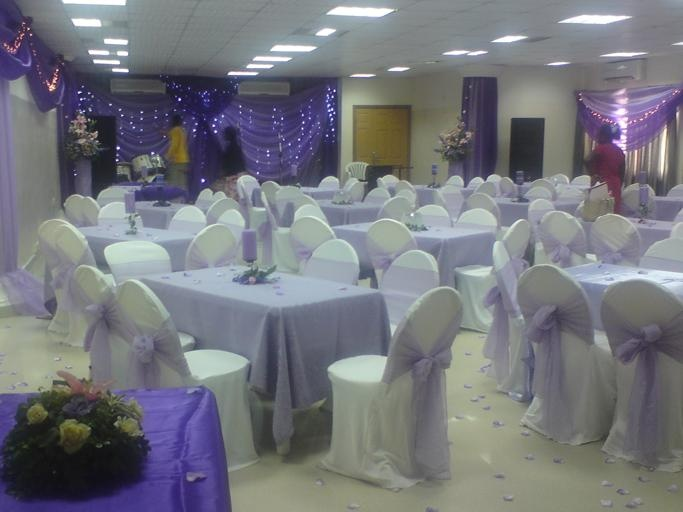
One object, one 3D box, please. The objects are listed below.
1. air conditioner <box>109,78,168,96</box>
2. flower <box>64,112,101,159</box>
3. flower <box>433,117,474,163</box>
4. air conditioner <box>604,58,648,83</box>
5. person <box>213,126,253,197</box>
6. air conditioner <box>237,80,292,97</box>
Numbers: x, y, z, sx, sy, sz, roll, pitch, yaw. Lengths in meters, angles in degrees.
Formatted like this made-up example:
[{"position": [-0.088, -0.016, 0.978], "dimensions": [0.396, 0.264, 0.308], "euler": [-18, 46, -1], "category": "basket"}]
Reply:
[{"position": [-5.009, -4.176, 13.129], "dimensions": [1.331, 0.392, 0.199], "euler": [-1, 10, -6], "category": "air conditioner"}, {"position": [-4.872, -2.211, 9.979], "dimensions": [0.531, 0.804, 1.103], "euler": [-5, 11, -27], "category": "flower"}, {"position": [2.731, -2.834, 12.935], "dimensions": [0.897, 1.319, 0.898], "euler": [-17, 28, -31], "category": "flower"}, {"position": [5.944, -3.882, 11.147], "dimensions": [0.147, 0.283, 0.523], "euler": [-2, 4, -28], "category": "air conditioner"}, {"position": [-2.245, -1.903, 10.916], "dimensions": [0.598, 1.578, 0.572], "euler": [-3, 38, -18], "category": "person"}, {"position": [-2.058, -4.438, 14.096], "dimensions": [1.334, 0.359, 0.256], "euler": [0, 10, -3], "category": "air conditioner"}]
